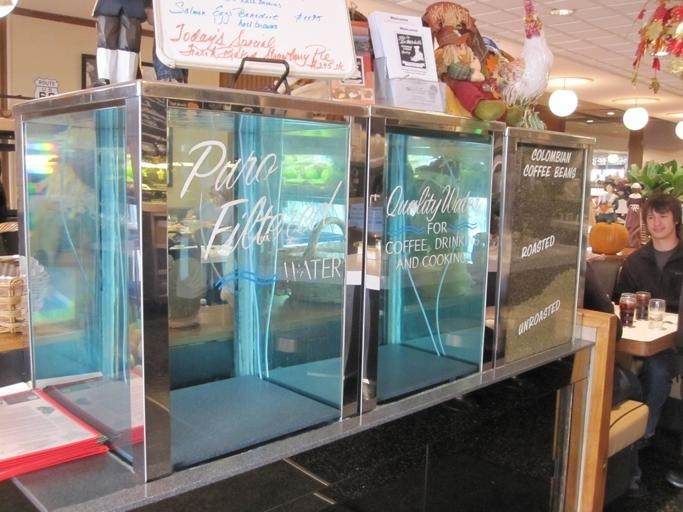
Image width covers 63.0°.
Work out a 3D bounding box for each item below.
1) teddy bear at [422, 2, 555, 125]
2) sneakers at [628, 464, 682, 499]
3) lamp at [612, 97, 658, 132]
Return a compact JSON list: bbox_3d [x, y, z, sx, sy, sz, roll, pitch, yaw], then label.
[{"bbox_3d":[0.529,-0.604,1.999,0.442,0.509,0.454,1,11,20],"label":"teddy bear"},{"bbox_3d":[1.669,1.177,2.945,0.293,0.192,0.084,-5,-11,-4],"label":"sneakers"},{"bbox_3d":[4.687,-2.244,8.870,0.677,0.475,0.665,-1,8,3],"label":"lamp"}]
